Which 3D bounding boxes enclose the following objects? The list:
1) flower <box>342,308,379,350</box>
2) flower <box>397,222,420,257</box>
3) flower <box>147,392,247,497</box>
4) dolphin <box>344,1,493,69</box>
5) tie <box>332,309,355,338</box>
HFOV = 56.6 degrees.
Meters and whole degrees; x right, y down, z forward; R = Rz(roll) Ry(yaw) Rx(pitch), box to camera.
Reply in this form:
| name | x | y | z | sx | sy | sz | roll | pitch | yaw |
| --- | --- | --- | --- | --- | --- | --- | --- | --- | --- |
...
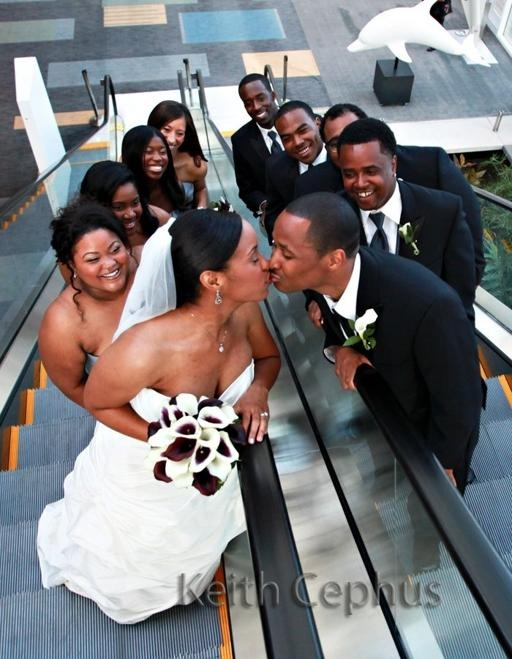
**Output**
| name | x | y | z | sx | sy | sz | roll | pitch | yaw |
| --- | --- | --- | --- | --- | --- | --- | --- | --- | --- |
| flower | 0.441 | 0.013 | 1.909 | 0.073 | 0.166 | 0.149 | 19 | -7 | -43 |
| flower | 0.849 | -0.508 | 2.658 | 0.082 | 0.195 | 0.126 | -39 | 42 | -14 |
| flower | -0.189 | 0.362 | 1.542 | 0.294 | 0.210 | 0.263 | 2 | 37 | 16 |
| dolphin | 2.968 | -5.686 | 9.105 | 2.216 | 0.957 | 1.198 | -2 | 36 | 9 |
| tie | 0.408 | -0.024 | 2.233 | 0.060 | 0.155 | 0.023 | -19 | 23 | 28 |
